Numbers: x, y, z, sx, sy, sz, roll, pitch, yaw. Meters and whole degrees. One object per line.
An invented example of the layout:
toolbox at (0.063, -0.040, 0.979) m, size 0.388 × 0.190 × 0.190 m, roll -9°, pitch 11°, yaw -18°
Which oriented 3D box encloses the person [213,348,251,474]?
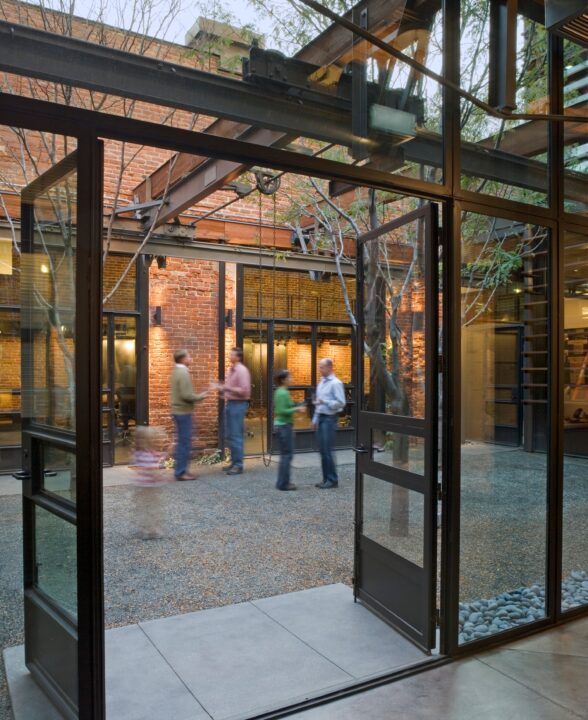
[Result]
person at (-0.835, 0.685, 8.230) m, size 0.412 × 1.692 × 1.327 m, roll 0°, pitch 0°, yaw -7°

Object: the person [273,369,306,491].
person at (-0.079, 0.817, 7.215) m, size 0.295 × 1.371 × 0.606 m, roll 0°, pitch 0°, yaw 0°
